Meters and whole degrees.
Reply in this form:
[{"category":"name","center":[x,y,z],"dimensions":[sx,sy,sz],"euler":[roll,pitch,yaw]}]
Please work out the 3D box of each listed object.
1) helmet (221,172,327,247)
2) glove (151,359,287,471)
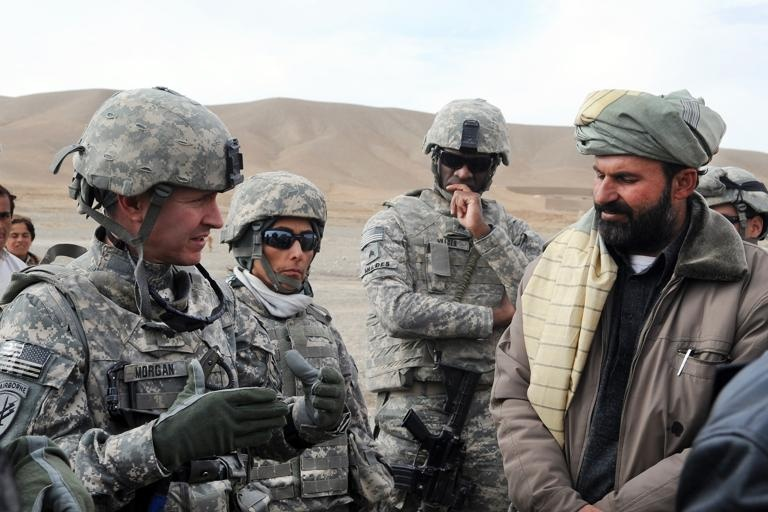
[{"category":"helmet","center":[-0.795,-0.363,6.105],"dimensions":[0.590,0.333,0.601],"euler":[-7,-7,39]},{"category":"glove","center":[-0.795,0.796,4.223],"dimensions":[0.686,0.528,0.184],"euler":[-15,-25,10]}]
